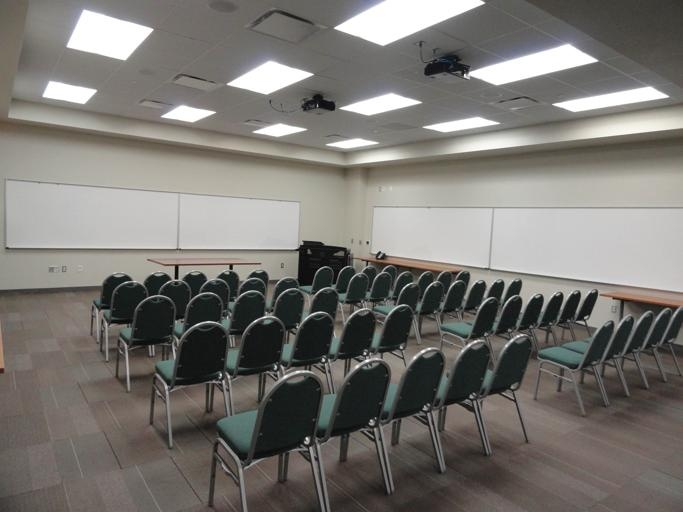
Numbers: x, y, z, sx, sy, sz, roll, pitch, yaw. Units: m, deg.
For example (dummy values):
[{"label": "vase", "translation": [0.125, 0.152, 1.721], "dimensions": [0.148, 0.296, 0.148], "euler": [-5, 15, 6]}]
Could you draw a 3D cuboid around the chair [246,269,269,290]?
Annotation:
[{"label": "chair", "translation": [-1.308, 0.349, 6.622], "dimensions": [0.271, 0.518, 0.303], "euler": [-2, 11, -33]}]

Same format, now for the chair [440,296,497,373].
[{"label": "chair", "translation": [1.705, 0.994, 5.659], "dimensions": [0.535, 1.025, 0.626], "euler": [-4, 10, -39]}]

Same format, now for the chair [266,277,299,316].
[{"label": "chair", "translation": [-0.858, 0.587, 6.206], "dimensions": [0.404, 0.749, 0.478], "euler": [-2, 9, -36]}]

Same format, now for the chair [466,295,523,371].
[{"label": "chair", "translation": [2.026, 1.007, 5.684], "dimensions": [0.503, 0.837, 0.438], "euler": [-13, -9, 39]}]

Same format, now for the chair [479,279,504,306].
[{"label": "chair", "translation": [2.428, 0.601, 6.802], "dimensions": [0.303, 0.555, 0.334], "euler": [-4, 14, -22]}]

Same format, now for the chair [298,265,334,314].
[{"label": "chair", "translation": [-0.604, 0.448, 7.529], "dimensions": [0.477, 0.976, 0.584], "euler": [-4, 15, -31]}]

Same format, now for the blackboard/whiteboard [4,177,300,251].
[{"label": "blackboard/whiteboard", "translation": [-4.369, -0.849, 10.287], "dimensions": [6.011, 1.517, 0.355], "euler": [1, 6, -31]}]

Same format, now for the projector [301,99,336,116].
[{"label": "projector", "translation": [-0.411, -2.583, 7.306], "dimensions": [0.517, 0.193, 1.024], "euler": [3, 4, -6]}]

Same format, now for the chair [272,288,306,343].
[{"label": "chair", "translation": [-0.577, 0.770, 5.109], "dimensions": [0.451, 0.731, 0.498], "euler": [1, -6, 0]}]

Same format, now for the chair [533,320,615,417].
[{"label": "chair", "translation": [2.635, 1.180, 4.795], "dimensions": [0.669, 1.026, 0.720], "euler": [1, 4, -20]}]
